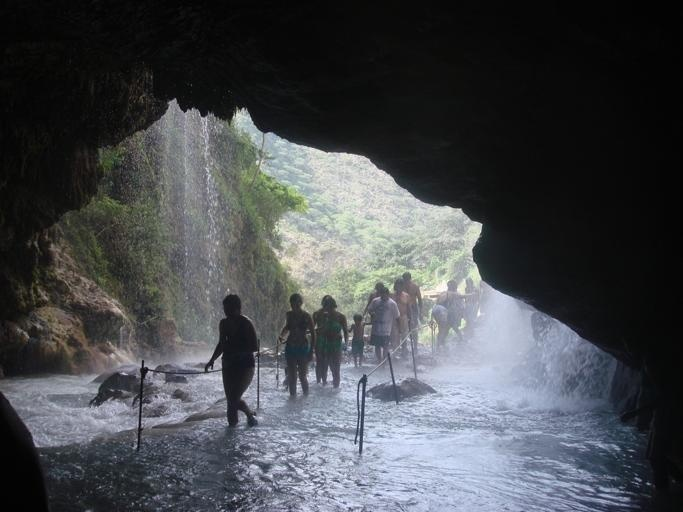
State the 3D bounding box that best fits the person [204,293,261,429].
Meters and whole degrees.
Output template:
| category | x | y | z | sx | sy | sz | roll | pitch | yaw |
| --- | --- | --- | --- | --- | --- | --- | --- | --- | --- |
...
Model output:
| category | x | y | z | sx | sy | sz | roll | pitch | yaw |
| --- | --- | --- | --- | --- | --- | --- | --- | --- | --- |
| person | -1.546 | 1.467 | 7.508 | 0.679 | 1.835 | 0.598 | 2 | -2 | -13 |
